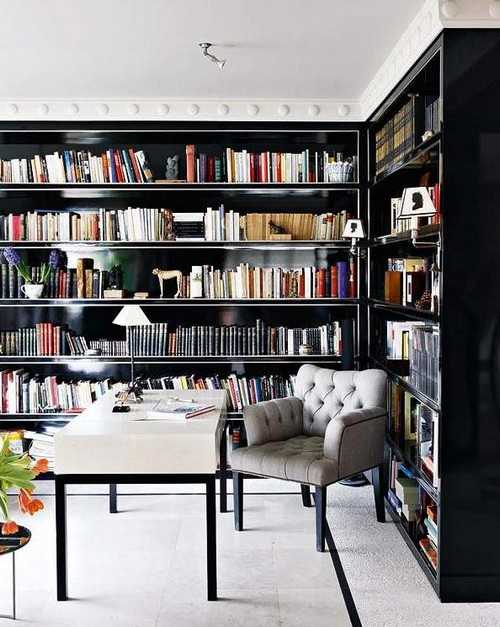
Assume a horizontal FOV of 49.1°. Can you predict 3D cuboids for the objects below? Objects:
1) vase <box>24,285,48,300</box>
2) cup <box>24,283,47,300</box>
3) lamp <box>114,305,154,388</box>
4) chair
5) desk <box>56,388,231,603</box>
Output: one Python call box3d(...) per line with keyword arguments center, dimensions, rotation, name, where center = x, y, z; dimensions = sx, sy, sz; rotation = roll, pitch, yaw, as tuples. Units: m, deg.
box3d(center=(-1.637, -0.147, 4.205), dimensions=(0.098, 0.106, 0.133), rotation=(0, -5, 8), name="vase")
box3d(center=(-1.642, -0.160, 4.158), dimensions=(0.098, 0.106, 0.133), rotation=(1, -5, -2), name="cup")
box3d(center=(-0.780, 0.221, 3.741), dimensions=(0.222, 0.535, 1.241), rotation=(0, 0, -11), name="lamp")
box3d(center=(0.362, 0.829, 3.264), dimensions=(0.845, 1.027, 0.980), rotation=(2, -5, -9), name="chair")
box3d(center=(-0.549, 0.886, 2.793), dimensions=(0.811, 0.766, 0.776), rotation=(0, 0, 0), name="desk")
